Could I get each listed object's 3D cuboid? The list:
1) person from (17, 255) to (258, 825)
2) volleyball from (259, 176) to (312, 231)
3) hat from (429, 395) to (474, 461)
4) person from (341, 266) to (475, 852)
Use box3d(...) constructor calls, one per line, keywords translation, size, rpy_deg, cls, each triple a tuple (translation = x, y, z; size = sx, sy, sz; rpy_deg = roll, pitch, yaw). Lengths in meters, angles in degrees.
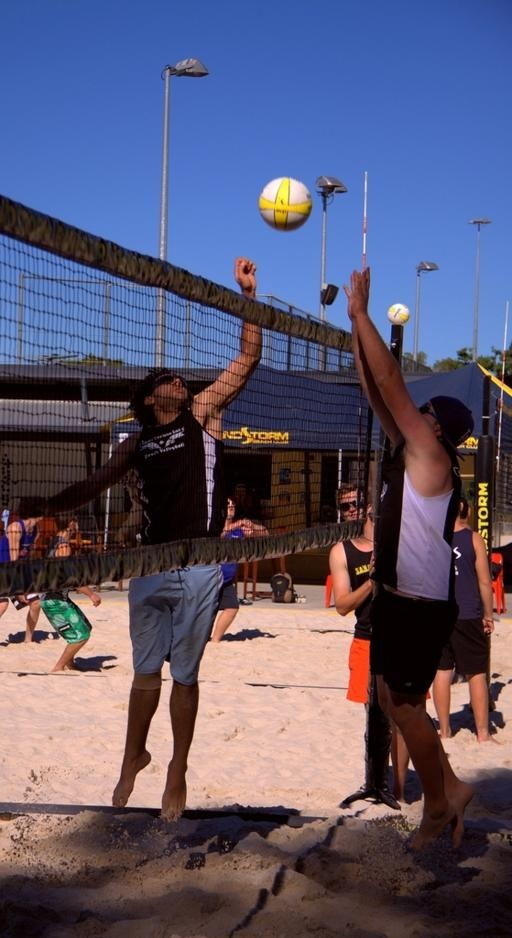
box3d(translation=(-0.350, 0.188, 3.219), size=(0.815, 2.288, 0.461), rpy_deg=(4, -9, -13), cls="person")
box3d(translation=(0.256, -2.421, 7.381), size=(0.412, 0.396, 0.239), rpy_deg=(-4, -11, 27), cls="volleyball")
box3d(translation=(0.642, -0.166, 2.695), size=(0.112, 0.210, 0.144), rpy_deg=(-11, -26, 11), cls="hat")
box3d(translation=(0.468, 0.295, 2.693), size=(0.376, 1.841, 0.467), rpy_deg=(-2, 5, -42), cls="person")
